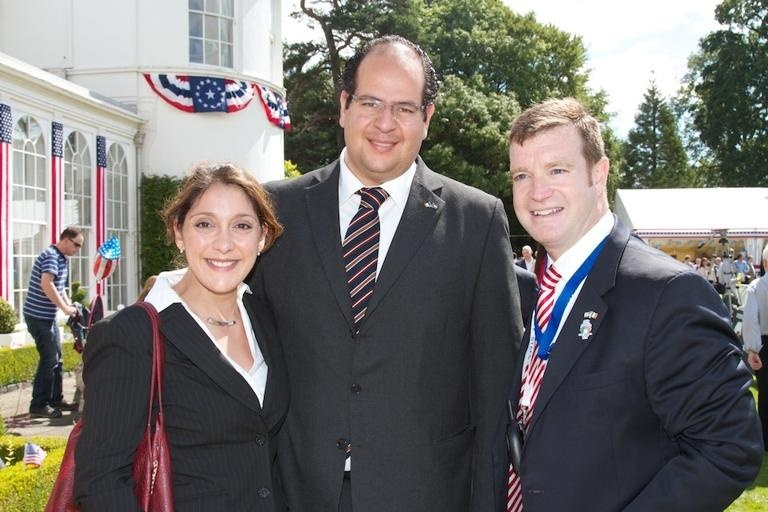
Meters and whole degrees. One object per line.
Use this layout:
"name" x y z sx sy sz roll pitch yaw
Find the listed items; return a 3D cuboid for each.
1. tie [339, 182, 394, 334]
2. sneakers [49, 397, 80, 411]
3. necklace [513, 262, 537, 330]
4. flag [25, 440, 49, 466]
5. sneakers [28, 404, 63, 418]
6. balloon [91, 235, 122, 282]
"tie" -0.139 -0.039 4.852 0.176 1.058 0.068 6 -20 3
"sneakers" -4.393 2.031 10.244 0.381 0.178 0.148 0 -1 -8
"necklace" 0.981 0.248 5.144 0.256 0.375 0.143 4 -6 2
"flag" -3.235 1.821 6.882 0.157 0.130 0.203 6 -1 -18
"sneakers" -4.523 2.072 9.953 0.412 0.182 0.174 0 -5 -5
"balloon" -4.231 0.008 11.297 0.300 0.933 0.505 9 41 -13
